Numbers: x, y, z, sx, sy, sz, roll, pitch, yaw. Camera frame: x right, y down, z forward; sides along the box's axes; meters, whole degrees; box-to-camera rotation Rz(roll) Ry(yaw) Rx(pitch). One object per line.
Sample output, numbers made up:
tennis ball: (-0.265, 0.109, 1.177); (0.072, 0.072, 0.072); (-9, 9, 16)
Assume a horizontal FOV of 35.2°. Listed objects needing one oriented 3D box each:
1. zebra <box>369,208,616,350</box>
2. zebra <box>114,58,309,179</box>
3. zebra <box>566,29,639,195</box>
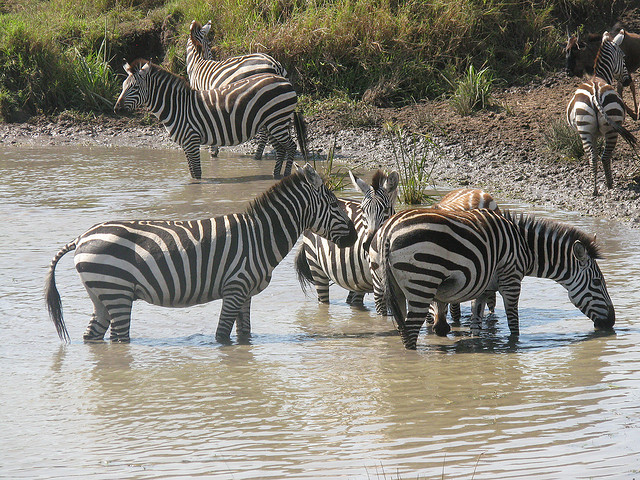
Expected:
zebra: (1.634, 0.347, 9.880); (2.167, 1.339, 0.632); (-2, 6, -15)
zebra: (-1.699, -1.927, 16.680); (3.328, 2.163, 0.961); (-6, 20, -20)
zebra: (4.144, -1.902, 14.667); (1.083, 2.399, 2.332); (1, 6, 13)
